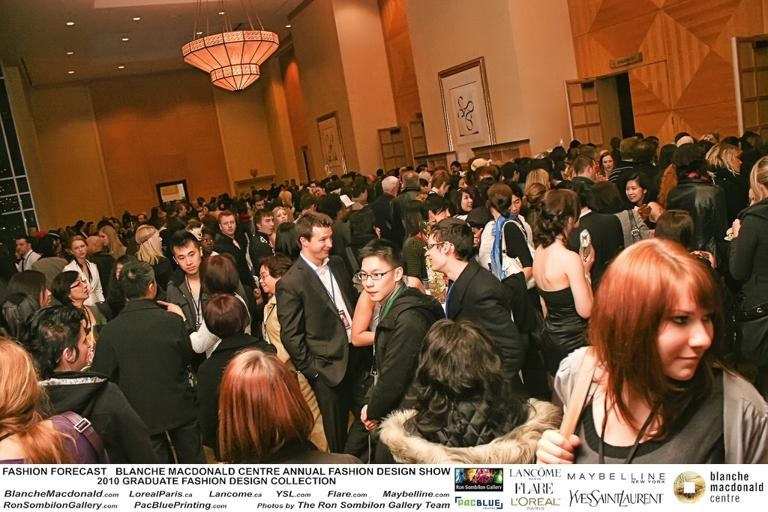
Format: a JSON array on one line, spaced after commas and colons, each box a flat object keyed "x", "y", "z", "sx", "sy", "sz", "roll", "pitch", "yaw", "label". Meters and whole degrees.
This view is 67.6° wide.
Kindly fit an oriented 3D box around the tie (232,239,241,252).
[{"x": -1.780, "y": -0.128, "z": 6.841, "sx": 0.023, "sy": 0.162, "sz": 0.034, "roll": -7, "pitch": 42, "yaw": 36, "label": "tie"}]
